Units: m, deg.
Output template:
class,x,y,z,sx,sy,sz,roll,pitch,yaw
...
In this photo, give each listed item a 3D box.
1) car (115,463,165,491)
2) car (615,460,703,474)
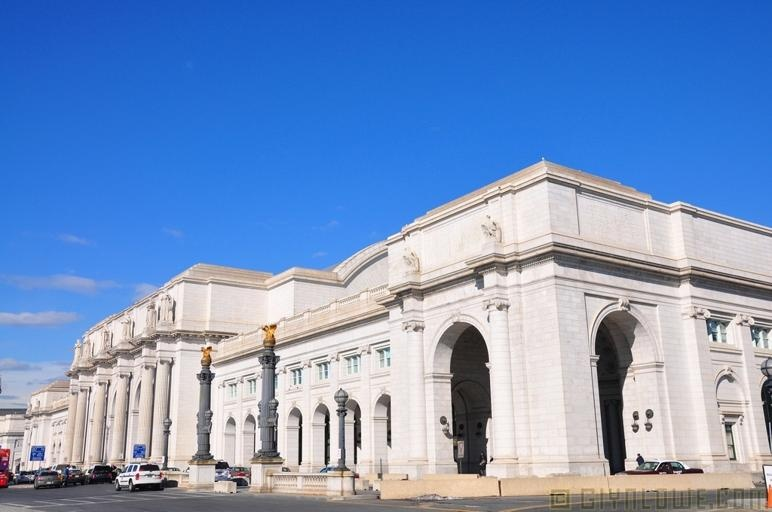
class,x,y,z,sx,sy,sz,roll,pitch,yaw
car,-20.924,19.274,62.407,3.063,2.311,3.483,17,-27,-35
car,18.502,14.402,48.820,6.308,1.187,3.377,18,-27,-39
